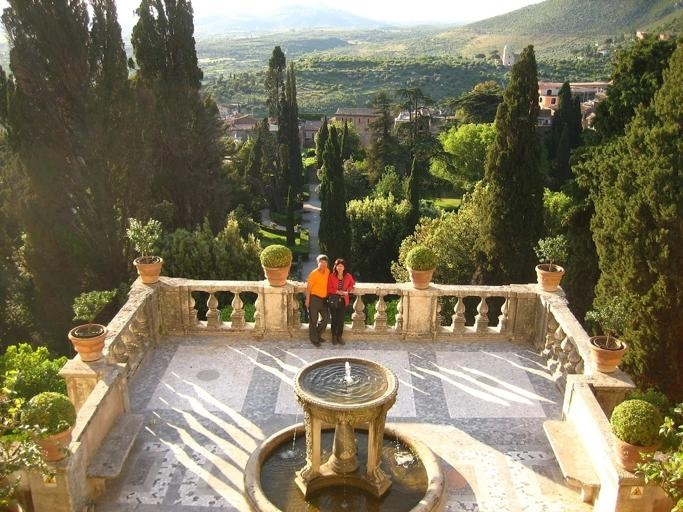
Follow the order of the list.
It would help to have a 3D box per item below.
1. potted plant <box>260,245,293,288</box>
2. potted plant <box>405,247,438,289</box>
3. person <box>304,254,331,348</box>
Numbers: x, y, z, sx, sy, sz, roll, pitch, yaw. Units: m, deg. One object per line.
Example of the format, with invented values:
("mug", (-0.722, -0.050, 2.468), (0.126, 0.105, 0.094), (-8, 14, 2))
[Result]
("potted plant", (-1.273, 0.158, 10.876), (0.681, 0.888, 0.724), (0, 14, -4))
("potted plant", (1.498, 0.182, 10.856), (0.653, 0.871, 0.696), (-2, 10, -8))
("person", (-0.457, 0.786, 10.486), (0.474, 1.907, 0.636), (-2, 21, -2))
